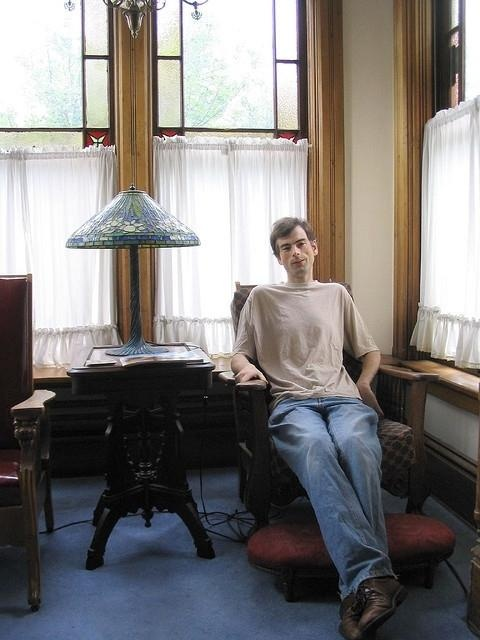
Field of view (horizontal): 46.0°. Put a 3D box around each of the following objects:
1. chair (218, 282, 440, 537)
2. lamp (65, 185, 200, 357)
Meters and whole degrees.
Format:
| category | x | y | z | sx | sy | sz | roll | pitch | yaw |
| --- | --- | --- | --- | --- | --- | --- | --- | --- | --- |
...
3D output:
| category | x | y | z | sx | sy | sz | roll | pitch | yaw |
| --- | --- | --- | --- | --- | --- | --- | --- | --- | --- |
| chair | 0.259 | 0.369 | 2.213 | 0.764 | 1.231 | 0.802 | -1 | -9 | -11 |
| lamp | -0.321 | -0.148 | 2.026 | 0.485 | 0.698 | 0.546 | 0 | 6 | 0 |
